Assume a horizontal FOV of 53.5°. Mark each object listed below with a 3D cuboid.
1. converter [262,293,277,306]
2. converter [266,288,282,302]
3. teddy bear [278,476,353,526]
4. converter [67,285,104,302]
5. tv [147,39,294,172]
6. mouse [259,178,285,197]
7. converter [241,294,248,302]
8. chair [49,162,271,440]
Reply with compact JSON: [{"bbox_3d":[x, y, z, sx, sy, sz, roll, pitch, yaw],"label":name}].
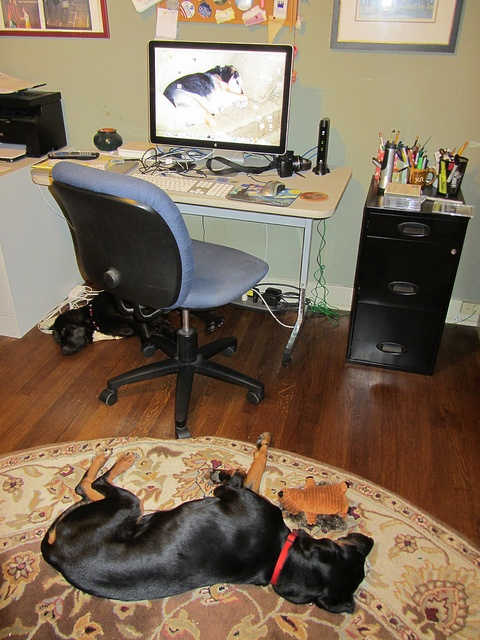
[{"bbox_3d":[0.153,-0.107,2.418,0.062,0.046,0.086,9,-6,-9],"label":"converter"},{"bbox_3d":[0.174,-0.131,2.483,0.083,0.056,0.057,9,-4,21],"label":"converter"},{"bbox_3d":[0.232,0.552,1.466,0.137,0.040,0.111,-1,35,10],"label":"teddy bear"},{"bbox_3d":[-0.828,-0.141,2.505,0.109,0.030,0.116,19,30,12],"label":"converter"},{"bbox_3d":[-0.076,-0.864,1.888,0.709,0.475,0.055,7,41,10],"label":"tv"},{"bbox_3d":[0.107,-0.487,1.727,0.055,0.029,0.093,16,43,22],"label":"mouse"},{"bbox_3d":[0.020,-0.111,2.338,0.026,0.043,0.025,-21,55,-17],"label":"converter"},{"bbox_3d":[-0.229,-0.126,1.687,0.586,0.902,0.624,24,37,35],"label":"chair"}]
